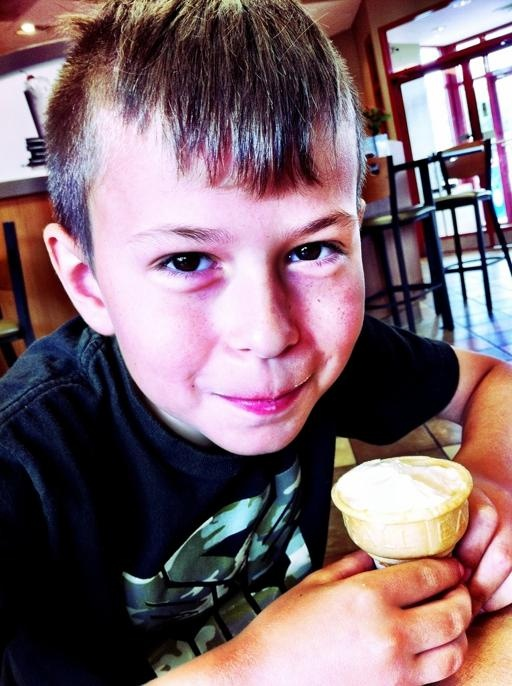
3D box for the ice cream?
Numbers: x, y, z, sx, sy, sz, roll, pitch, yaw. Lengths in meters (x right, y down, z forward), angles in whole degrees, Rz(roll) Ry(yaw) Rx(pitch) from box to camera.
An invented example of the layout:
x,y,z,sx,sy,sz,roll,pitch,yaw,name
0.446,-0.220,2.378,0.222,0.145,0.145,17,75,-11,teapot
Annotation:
x,y,z,sx,sy,sz,roll,pitch,yaw,name
0.160,0.165,0.688,0.171,0.129,0.167,2,2,-17,ice cream
